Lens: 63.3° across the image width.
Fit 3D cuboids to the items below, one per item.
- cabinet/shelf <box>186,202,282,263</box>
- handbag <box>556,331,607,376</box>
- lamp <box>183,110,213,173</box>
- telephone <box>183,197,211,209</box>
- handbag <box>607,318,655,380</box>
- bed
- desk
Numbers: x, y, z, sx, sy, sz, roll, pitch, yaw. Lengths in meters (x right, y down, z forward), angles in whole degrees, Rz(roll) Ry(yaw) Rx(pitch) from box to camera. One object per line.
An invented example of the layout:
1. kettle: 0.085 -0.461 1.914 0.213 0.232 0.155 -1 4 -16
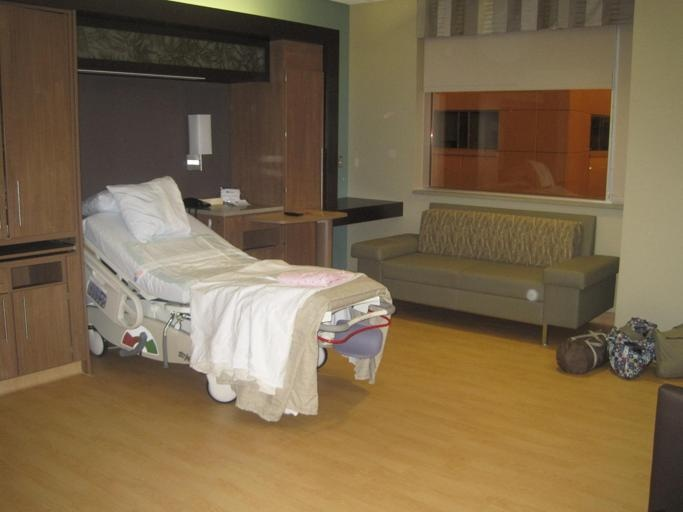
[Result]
1. cabinet/shelf: -0.914 -0.256 6.006 0.594 0.558 0.327 -11 12 -5
2. handbag: 2.003 0.780 4.560 0.348 0.309 0.476 -6 6 36
3. lamp: -1.450 -1.196 5.874 0.364 0.601 0.305 -15 20 -42
4. telephone: -1.481 -0.538 5.697 0.198 0.073 0.142 4 6 27
5. handbag: 2.382 0.744 4.552 0.376 0.138 0.513 10 63 33
6. bed: -0.996 0.259 4.437 2.707 1.473 1.270 11 11 29
7. desk: -0.584 -0.171 6.039 0.377 0.510 0.554 0 15 35
